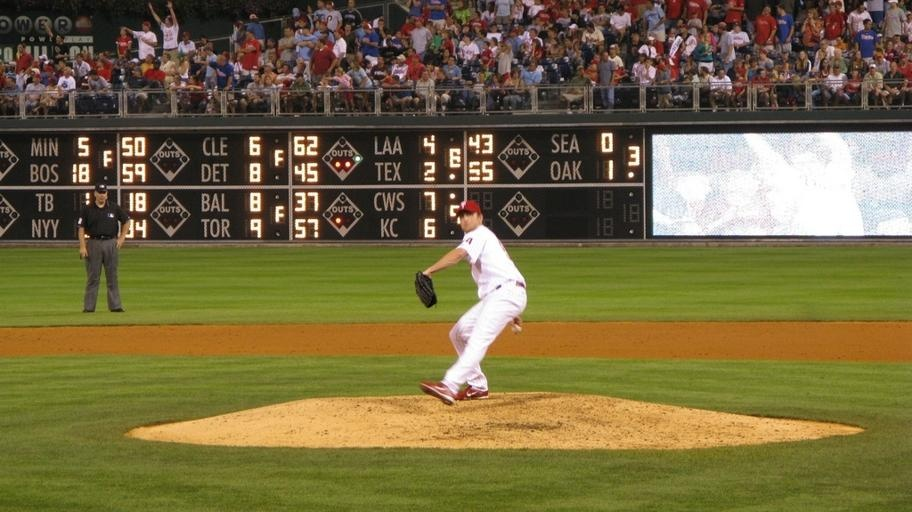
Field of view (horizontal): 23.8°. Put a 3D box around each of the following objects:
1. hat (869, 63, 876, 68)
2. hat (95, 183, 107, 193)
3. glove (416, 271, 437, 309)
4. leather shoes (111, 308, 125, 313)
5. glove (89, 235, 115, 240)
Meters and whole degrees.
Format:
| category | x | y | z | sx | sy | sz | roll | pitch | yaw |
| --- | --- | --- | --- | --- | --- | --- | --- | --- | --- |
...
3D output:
| category | x | y | z | sx | sy | sz | roll | pitch | yaw |
| --- | --- | --- | --- | --- | --- | --- | --- | --- | --- |
| hat | 13.649 | -6.146 | 70.111 | 0.234 | 0.163 | 0.370 | -2 | 2 | 10 |
| hat | -9.933 | -1.901 | 59.959 | 0.375 | 0.237 | 0.509 | 1 | -4 | -29 |
| glove | -0.736 | 0.875 | 54.262 | 0.487 | 0.986 | 0.387 | -12 | -7 | -10 |
| leather shoes | -9.482 | 1.563 | 60.298 | 0.335 | 0.120 | 0.104 | -1 | 8 | -6 |
| glove | -9.849 | -0.473 | 59.754 | 0.660 | 0.151 | 0.108 | -2 | 2 | -6 |
